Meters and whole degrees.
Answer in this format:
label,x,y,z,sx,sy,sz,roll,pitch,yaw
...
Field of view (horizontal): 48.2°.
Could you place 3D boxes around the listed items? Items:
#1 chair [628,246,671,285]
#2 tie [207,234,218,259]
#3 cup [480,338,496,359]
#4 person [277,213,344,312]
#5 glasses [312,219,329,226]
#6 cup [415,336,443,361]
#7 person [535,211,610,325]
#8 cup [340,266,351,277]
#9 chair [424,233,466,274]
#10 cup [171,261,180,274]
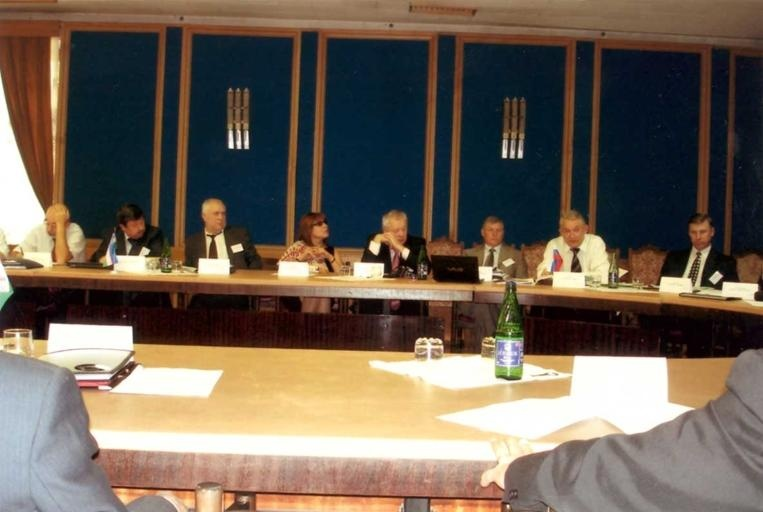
label,x,y,z,sx,sy,sz,roll,pitch,yaw
chair,2.774,0.103,8.800,0.350,0.649,0.357,0,-4,27
tie,-1.603,-0.090,8.168,0.085,0.208,0.104,-3,6,-11
cup,0.656,0.583,5.264,0.122,0.133,0.095,4,6,21
person,-0.618,0.190,7.976,0.518,1.199,0.622,-1,-3,-13
glasses,-0.575,-0.316,8.079,0.131,0.069,0.164,-8,0,0
cup,0.291,0.557,5.207,0.180,0.148,0.115,0,-8,-7
person,1.845,0.256,8.074,0.753,1.298,0.678,-3,6,-40
cup,-0.313,0.135,7.553,0.076,0.080,0.079,1,4,0
chair,0.681,-0.021,9.121,0.355,0.698,0.379,0,-5,0
cup,-1.833,0.103,7.642,0.089,0.121,0.094,0,-6,0
